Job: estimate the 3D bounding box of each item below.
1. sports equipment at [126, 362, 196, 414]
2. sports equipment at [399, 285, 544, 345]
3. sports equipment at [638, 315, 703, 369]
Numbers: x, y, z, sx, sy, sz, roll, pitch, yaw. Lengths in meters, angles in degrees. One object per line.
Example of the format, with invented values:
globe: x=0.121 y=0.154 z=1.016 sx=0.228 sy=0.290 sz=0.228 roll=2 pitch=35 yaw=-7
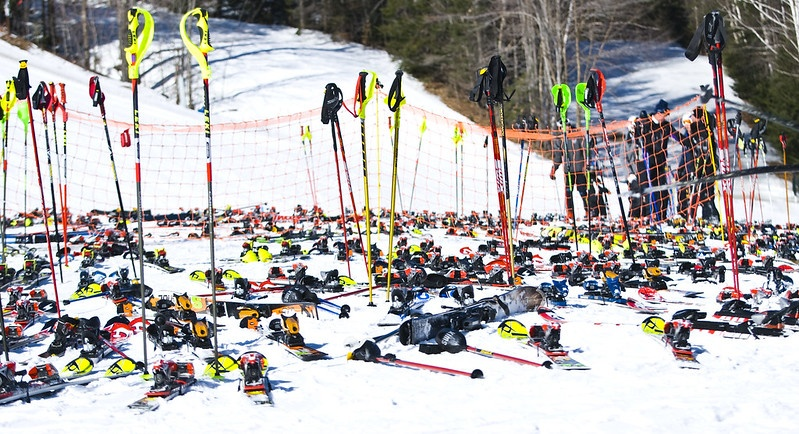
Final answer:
sports equipment: x=-7.022 y=4.720 z=27.907 sx=1.080 sy=1.146 sz=3.012 roll=4 pitch=7 yaw=11
sports equipment: x=2.239 y=3.074 z=29.062 sx=3.821 sy=0.785 sz=0.767 roll=-14 pitch=9 yaw=-15
sports equipment: x=8.175 y=3.645 z=28.252 sx=0.771 sy=0.807 sz=2.111 roll=-2 pitch=15 yaw=-15
